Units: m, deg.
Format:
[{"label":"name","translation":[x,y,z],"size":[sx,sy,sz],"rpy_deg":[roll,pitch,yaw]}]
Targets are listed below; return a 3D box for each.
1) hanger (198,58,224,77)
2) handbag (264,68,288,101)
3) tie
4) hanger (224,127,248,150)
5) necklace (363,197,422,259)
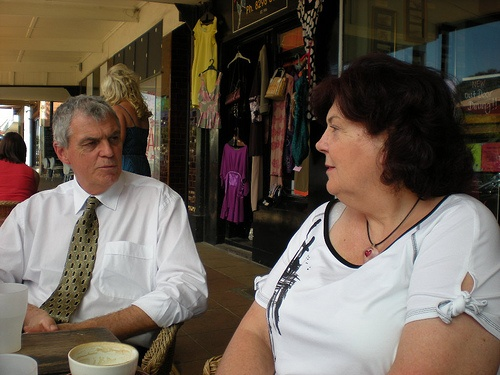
[{"label":"hanger","translation":[-0.605,-1.906,6.521],"size":[0.314,0.217,0.027],"rpy_deg":[9,11,35]},{"label":"handbag","translation":[0.343,-1.351,5.419],"size":[0.169,0.460,0.332],"rpy_deg":[18,8,-28]},{"label":"tie","translation":[-0.896,0.351,2.060],"size":[0.266,0.609,0.141],"rpy_deg":[1,-1,-28]},{"label":"hanger","translation":[-0.224,-0.778,6.488],"size":[0.359,0.445,0.040],"rpy_deg":[5,15,8]},{"label":"necklace","translation":[0.505,0.160,1.462],"size":[0.049,0.198,0.184],"rpy_deg":[22,6,-44]}]
